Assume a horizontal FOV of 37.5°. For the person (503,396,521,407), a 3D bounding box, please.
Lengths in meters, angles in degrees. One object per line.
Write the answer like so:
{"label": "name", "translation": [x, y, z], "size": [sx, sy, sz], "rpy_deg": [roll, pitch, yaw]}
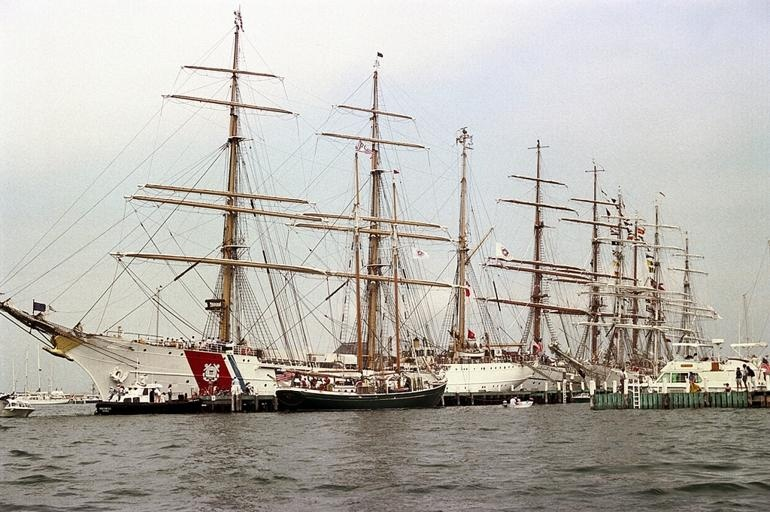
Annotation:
{"label": "person", "translation": [13.998, 15.932, 124.061], "size": [1.607, 0.572, 1.127], "rpy_deg": [5, -5, -44]}
